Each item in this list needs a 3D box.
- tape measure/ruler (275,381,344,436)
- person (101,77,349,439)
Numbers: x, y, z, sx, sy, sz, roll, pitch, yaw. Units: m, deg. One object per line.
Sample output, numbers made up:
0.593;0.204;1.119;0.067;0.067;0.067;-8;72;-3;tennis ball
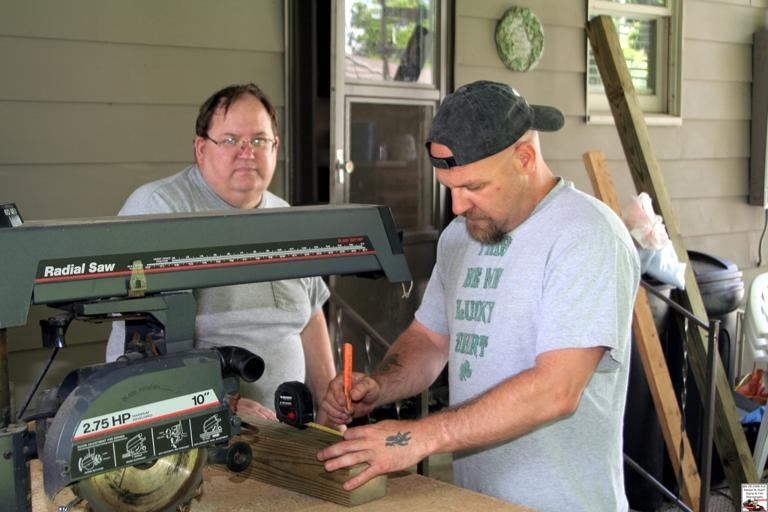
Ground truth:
-0.233;0.423;2.014;0.187;0.179;0.175;1;3;-26;tape measure/ruler
-0.645;0.024;2.645;0.642;1.563;0.714;-2;3;-34;person
